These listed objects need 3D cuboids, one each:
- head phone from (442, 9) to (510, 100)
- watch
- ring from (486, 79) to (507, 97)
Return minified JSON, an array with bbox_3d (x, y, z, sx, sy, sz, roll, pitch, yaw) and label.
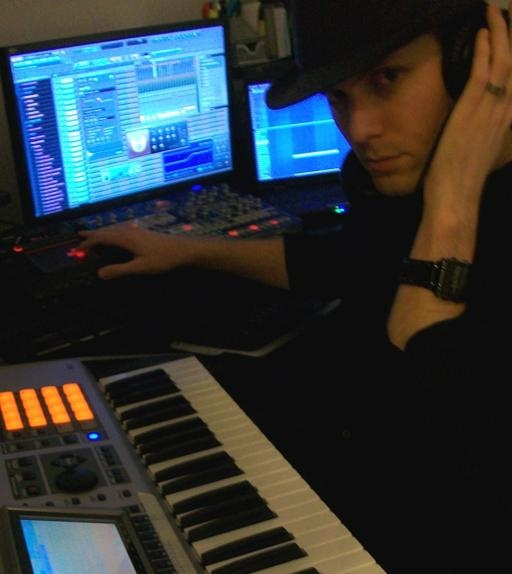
[{"bbox_3d":[0.322,-0.363,0.898,0.047,0.122,0.100,21,12,39],"label":"head phone"},{"bbox_3d":[0.300,-0.017,0.942,0.114,0.060,0.107,7,4,11],"label":"watch"},{"bbox_3d":[0.393,-0.323,0.936,0.028,0.018,0.026,16,33,-11],"label":"ring"}]
